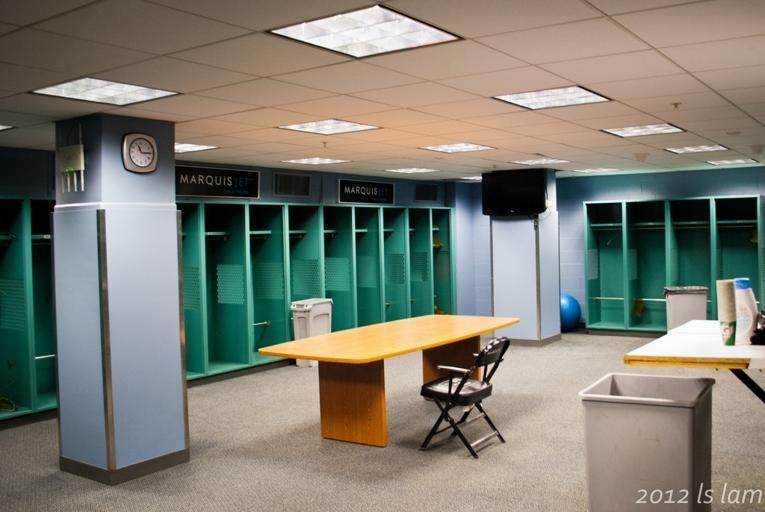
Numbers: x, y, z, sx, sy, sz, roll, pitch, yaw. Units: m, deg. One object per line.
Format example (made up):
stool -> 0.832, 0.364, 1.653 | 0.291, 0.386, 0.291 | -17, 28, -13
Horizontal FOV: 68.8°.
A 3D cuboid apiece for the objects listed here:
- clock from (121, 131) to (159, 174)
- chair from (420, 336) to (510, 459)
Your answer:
clock -> -2.421, -1.015, 5.495 | 0.063, 0.453, 0.518 | -6, -4, 38
chair -> 0.872, 1.452, 5.989 | 1.005, 1.051, 0.878 | 0, -1, 7
